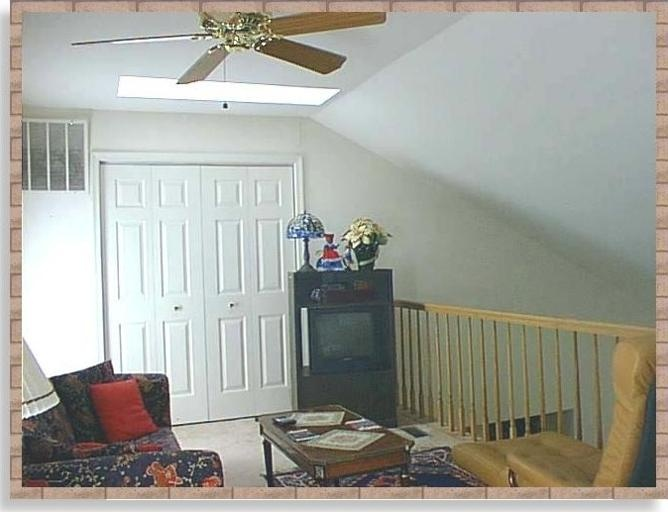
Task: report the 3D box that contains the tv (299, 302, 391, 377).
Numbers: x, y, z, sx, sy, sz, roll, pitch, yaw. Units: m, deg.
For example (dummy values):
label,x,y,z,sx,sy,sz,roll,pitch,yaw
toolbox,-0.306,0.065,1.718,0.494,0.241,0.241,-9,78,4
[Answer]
label,x,y,z,sx,sy,sz,roll,pitch,yaw
tv,0.032,0.285,2.866,0.482,0.331,0.253,-1,1,-2

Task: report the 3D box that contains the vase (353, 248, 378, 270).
label,x,y,z,sx,sy,sz,roll,pitch,yaw
vase,0.129,0.011,2.904,0.077,0.074,0.100,3,-27,-17

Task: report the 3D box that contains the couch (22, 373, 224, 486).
label,x,y,z,sx,sy,sz,roll,pitch,yaw
couch,-0.900,0.546,2.818,0.494,0.499,0.685,-1,1,-19

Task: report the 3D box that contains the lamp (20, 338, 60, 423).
label,x,y,z,sx,sy,sz,roll,pitch,yaw
lamp,-1.161,0.485,2.746,0.143,0.327,0.089,0,2,29

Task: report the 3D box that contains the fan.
label,x,y,z,sx,sy,sz,roll,pitch,yaw
fan,-0.358,-0.797,2.748,1.124,0.371,0.294,-1,2,5

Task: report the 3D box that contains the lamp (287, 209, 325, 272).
label,x,y,z,sx,sy,sz,roll,pitch,yaw
lamp,-0.114,-0.065,2.873,0.165,0.237,0.163,-4,-14,13

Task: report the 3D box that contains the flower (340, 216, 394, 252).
label,x,y,z,sx,sy,sz,roll,pitch,yaw
flower,0.139,-0.092,2.857,0.137,0.134,0.049,-16,-27,-20
